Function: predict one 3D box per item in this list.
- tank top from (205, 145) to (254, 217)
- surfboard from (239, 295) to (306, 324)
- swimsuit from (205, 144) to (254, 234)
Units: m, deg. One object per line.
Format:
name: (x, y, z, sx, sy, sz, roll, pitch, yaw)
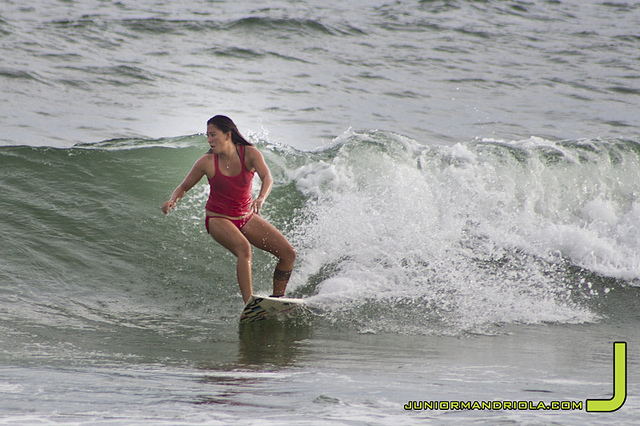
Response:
tank top: (-1.224, -0.327, 13.113, 0.577, 0.638, 0.598, 5, 51, -3)
surfboard: (-0.612, 1.318, 13.288, 0.735, 0.391, 0.180, -4, 44, -29)
swimsuit: (-1.212, -0.325, 13.169, 0.792, 0.772, 1.116, 0, 62, 1)
